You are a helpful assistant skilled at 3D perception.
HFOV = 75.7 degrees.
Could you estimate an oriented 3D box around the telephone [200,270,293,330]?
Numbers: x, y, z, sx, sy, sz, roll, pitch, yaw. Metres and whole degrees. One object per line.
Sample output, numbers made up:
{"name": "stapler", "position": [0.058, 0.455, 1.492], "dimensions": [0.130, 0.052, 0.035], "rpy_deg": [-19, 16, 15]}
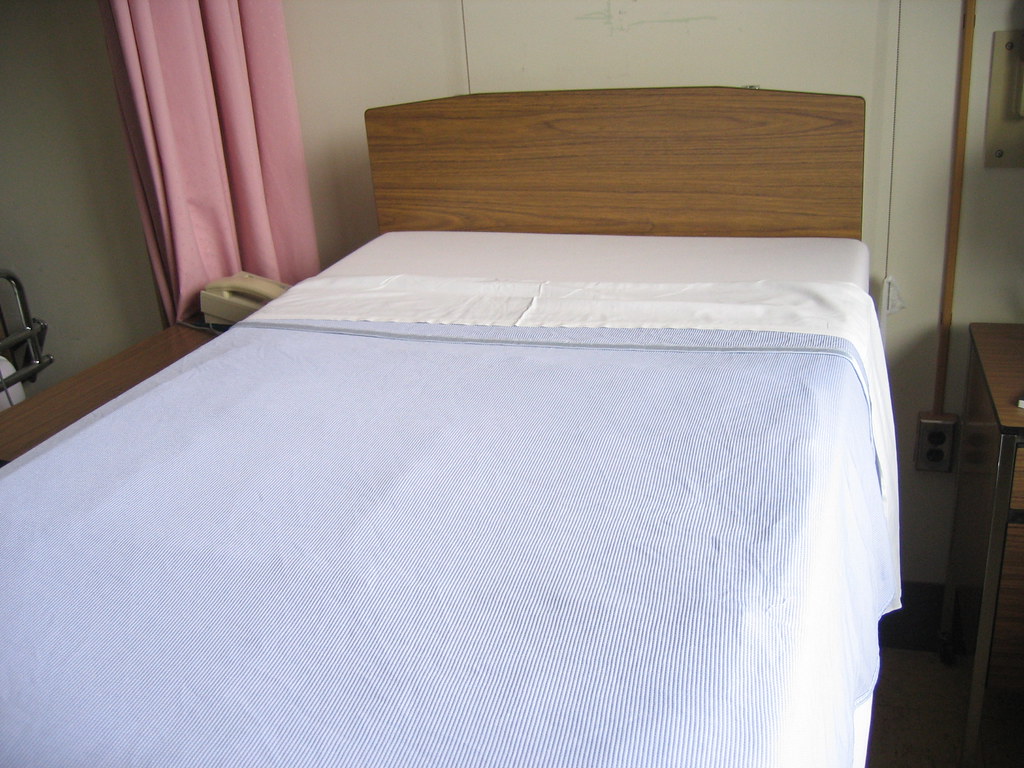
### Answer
{"name": "telephone", "position": [-0.829, -0.225, 2.062], "dimensions": [0.223, 0.093, 0.217], "rpy_deg": [-2, 28, 11]}
